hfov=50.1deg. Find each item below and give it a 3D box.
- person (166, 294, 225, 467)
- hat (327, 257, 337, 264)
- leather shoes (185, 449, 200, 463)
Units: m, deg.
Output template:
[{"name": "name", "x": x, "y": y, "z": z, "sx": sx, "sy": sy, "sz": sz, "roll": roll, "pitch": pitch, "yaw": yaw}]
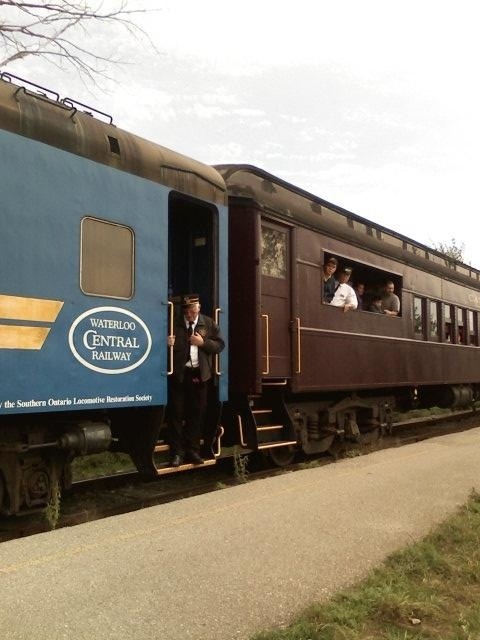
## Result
[{"name": "person", "x": -0.495, "y": 0.624, "z": 5.611, "sx": 0.656, "sy": 1.804, "sz": 0.420, "roll": 4, "pitch": -7, "yaw": -29}, {"name": "hat", "x": 1.432, "y": -0.917, "z": 7.982, "sx": 0.106, "sy": 0.086, "sz": 0.113, "roll": 16, "pitch": -36, "yaw": -11}, {"name": "leather shoes", "x": -0.485, "y": 1.452, "z": 5.465, "sx": 0.112, "sy": 0.139, "sz": 0.197, "roll": 3, "pitch": -7, "yaw": -28}]
